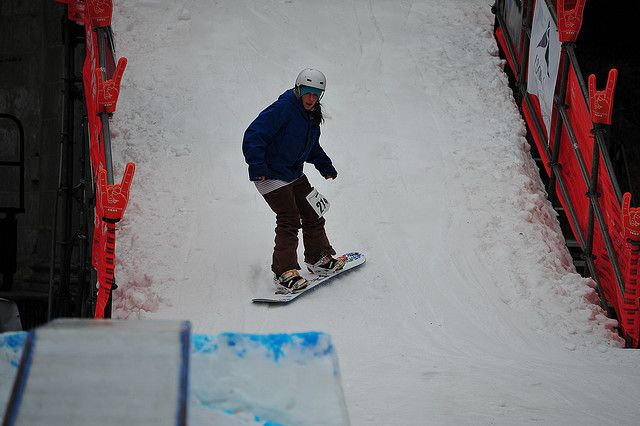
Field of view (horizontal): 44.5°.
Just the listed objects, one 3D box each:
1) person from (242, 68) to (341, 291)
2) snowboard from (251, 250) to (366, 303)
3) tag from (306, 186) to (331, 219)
[{"bbox_3d":[-0.285,-0.298,8.160,0.898,2.190,0.862,-4,-10,1],"label":"person"},{"bbox_3d":[-0.072,0.708,8.148,0.444,0.176,1.541,11,25,39],"label":"snowboard"},{"bbox_3d":[-0.029,-0.106,8.389,0.155,0.284,0.212,-22,28,20],"label":"tag"}]
